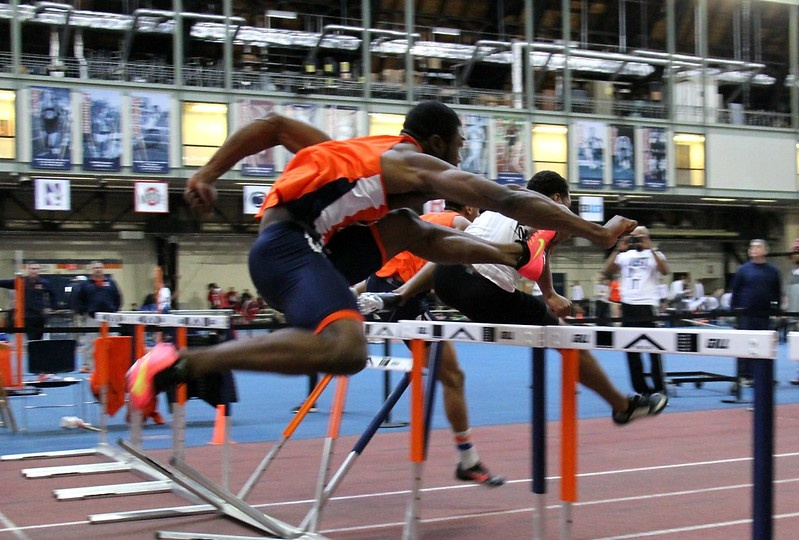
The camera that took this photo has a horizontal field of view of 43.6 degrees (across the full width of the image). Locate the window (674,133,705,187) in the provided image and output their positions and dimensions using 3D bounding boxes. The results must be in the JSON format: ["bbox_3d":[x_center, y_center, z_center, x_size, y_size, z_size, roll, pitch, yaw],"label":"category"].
[{"bbox_3d":[9.697,-3.651,32.995,1.151,1.742,0.209,-2,3,-25],"label":"window"}]

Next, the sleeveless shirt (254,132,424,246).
[{"bbox_3d":[-0.798,-0.806,10.212,1.812,0.588,0.958,-11,-3,-5],"label":"sleeveless shirt"}]

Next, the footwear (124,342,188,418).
[{"bbox_3d":[-2.486,1.074,9.882,0.329,0.771,0.579,39,21,-26],"label":"footwear"}]

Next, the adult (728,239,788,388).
[{"bbox_3d":[5.827,0.728,16.280,1.183,2.331,0.788,6,-2,-26],"label":"adult"}]
